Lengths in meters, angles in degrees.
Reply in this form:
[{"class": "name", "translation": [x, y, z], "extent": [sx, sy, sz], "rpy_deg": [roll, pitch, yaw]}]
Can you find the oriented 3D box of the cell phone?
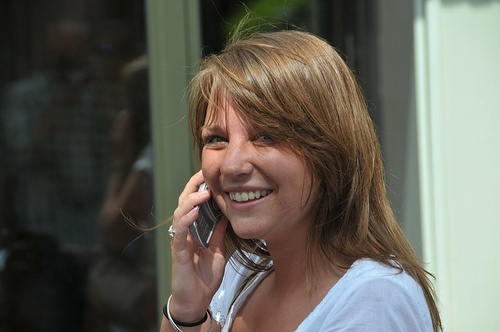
[{"class": "cell phone", "translation": [-0.266, 0.311, 4.457], "extent": [0.072, 0.380, 0.171], "rpy_deg": [-6, -33, 30]}]
